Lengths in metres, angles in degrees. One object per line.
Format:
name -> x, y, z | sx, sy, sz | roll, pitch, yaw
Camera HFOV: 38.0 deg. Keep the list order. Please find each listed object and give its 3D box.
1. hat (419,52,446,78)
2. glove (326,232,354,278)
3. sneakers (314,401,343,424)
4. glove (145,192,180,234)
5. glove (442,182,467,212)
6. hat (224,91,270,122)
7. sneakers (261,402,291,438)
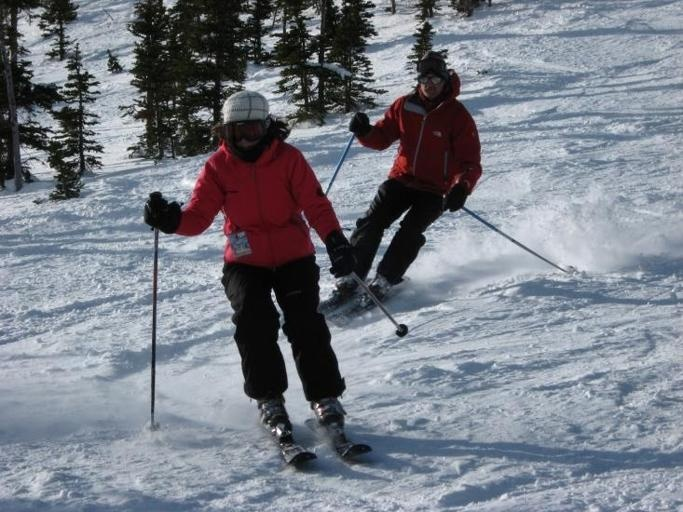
hat -> 1.246, -2.597, 13.369 | 0.385, 0.379, 0.329 | 3, 52, 9
glove -> -0.002, -0.034, 11.761 | 0.306, 0.583, 0.252 | -11, 11, -10
sneakers -> -0.141, 1.795, 11.493 | 0.291, 0.205, 0.310 | -18, -8, -9
glove -> -2.100, -0.522, 11.699 | 0.436, 0.490, 0.226 | -9, 10, -10
glove -> 1.532, -0.800, 13.227 | 0.356, 0.377, 0.286 | -13, 11, -28
hat -> -1.101, -1.771, 11.882 | 0.588, 0.373, 0.584 | -3, 14, 9
sneakers -> -0.740, 1.884, 11.455 | 0.237, 0.220, 0.557 | -15, 42, -19
